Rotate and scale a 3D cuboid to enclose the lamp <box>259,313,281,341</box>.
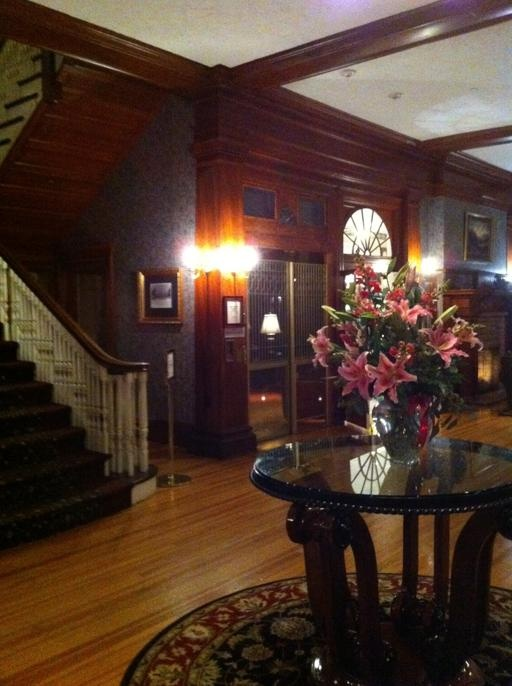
[{"bbox_3d":[0.220,-0.192,6.381,0.295,0.387,0.294,2,1,11],"label":"lamp"}]

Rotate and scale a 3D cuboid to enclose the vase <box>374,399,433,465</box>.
[{"bbox_3d":[0.540,0.314,1.953,0.241,0.247,0.266,-7,-9,28],"label":"vase"}]

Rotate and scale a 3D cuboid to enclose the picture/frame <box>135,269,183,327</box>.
[{"bbox_3d":[-1.140,-0.552,6.268,0.066,0.667,0.721,6,9,37],"label":"picture/frame"}]

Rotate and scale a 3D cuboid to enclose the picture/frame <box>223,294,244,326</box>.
[{"bbox_3d":[-0.261,-0.366,5.753,0.057,0.423,0.369,-1,0,37],"label":"picture/frame"}]
